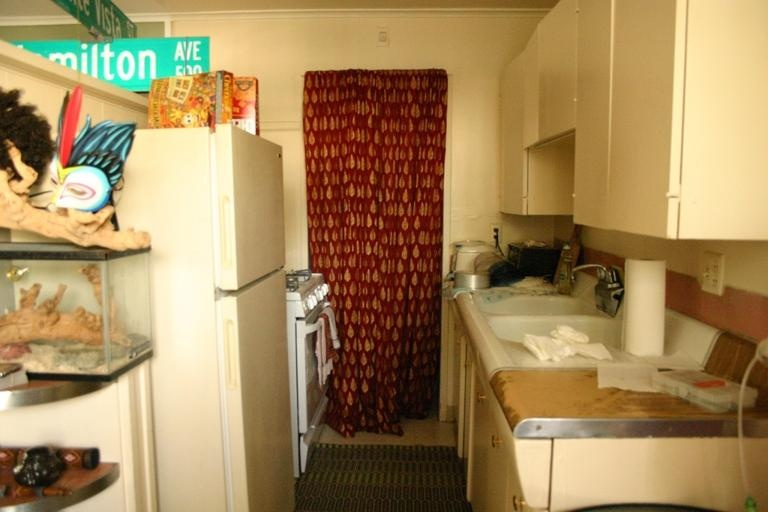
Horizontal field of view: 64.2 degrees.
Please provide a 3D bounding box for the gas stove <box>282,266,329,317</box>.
[{"bbox_3d":[-0.473,0.214,3.592,0.207,0.151,0.383,-1,8,0],"label":"gas stove"}]

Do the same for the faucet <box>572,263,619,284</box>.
[{"bbox_3d":[0.986,0.081,2.891,0.221,0.087,0.122,-3,-2,44],"label":"faucet"}]

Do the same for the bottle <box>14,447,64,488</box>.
[{"bbox_3d":[-1.265,0.775,2.246,0.142,0.120,0.143,0,4,-20],"label":"bottle"}]
